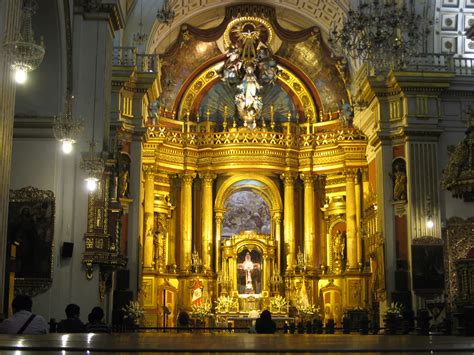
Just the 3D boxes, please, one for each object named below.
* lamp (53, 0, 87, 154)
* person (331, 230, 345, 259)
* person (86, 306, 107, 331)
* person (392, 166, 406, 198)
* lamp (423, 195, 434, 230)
[{"bbox_3d":[-3.472,-2.144,16.364,0.587,3.624,1.776,5,-16,-12],"label":"lamp"},{"bbox_3d":[3.456,2.309,26.699,0.362,1.075,0.609,7,-17,-18],"label":"person"},{"bbox_3d":[-2.272,2.326,12.778,0.364,0.488,1.008,5,-17,-11],"label":"person"},{"bbox_3d":[4.502,0.145,21.742,0.411,0.981,0.096,-12,-20,40],"label":"person"},{"bbox_3d":[5.201,0.930,21.249,0.210,0.900,0.117,-2,-16,13],"label":"lamp"}]
